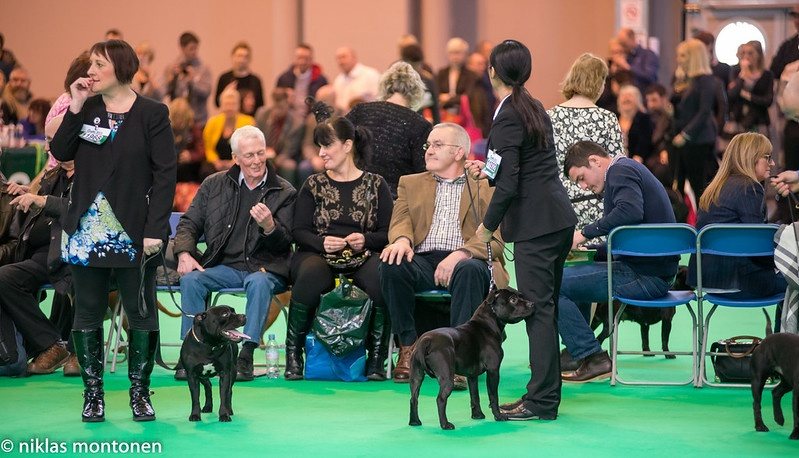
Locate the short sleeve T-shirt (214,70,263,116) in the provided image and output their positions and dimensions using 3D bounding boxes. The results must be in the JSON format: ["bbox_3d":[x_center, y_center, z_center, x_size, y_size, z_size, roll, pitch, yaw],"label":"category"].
[{"bbox_3d":[-2.562,-2.173,14.538,0.815,0.702,0.700,1,12,9],"label":"short sleeve T-shirt"}]

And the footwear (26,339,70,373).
[{"bbox_3d":[-3.401,1.297,8.909,0.484,0.190,0.216,-38,3,-24],"label":"footwear"}]

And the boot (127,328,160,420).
[{"bbox_3d":[-2.144,1.237,7.613,0.264,0.740,0.248,-4,12,-17],"label":"boot"}]

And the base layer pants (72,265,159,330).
[{"bbox_3d":[-2.400,0.580,7.641,0.715,0.902,0.343,0,-2,-13],"label":"base layer pants"}]

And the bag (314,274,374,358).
[{"bbox_3d":[-0.537,0.852,8.708,0.516,0.675,0.286,6,-6,1],"label":"bag"}]

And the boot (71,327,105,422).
[{"bbox_3d":[-2.577,1.235,7.570,0.232,0.759,0.248,-5,12,-20],"label":"boot"}]

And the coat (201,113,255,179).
[{"bbox_3d":[-2.697,-1.244,13.579,0.880,1.040,1.131,0,-4,-4],"label":"coat"}]

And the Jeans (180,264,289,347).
[{"bbox_3d":[-1.575,0.749,9.030,0.703,1.225,0.880,2,-7,-19],"label":"Jeans"}]

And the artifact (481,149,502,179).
[{"bbox_3d":[0.745,-0.520,7.452,0.069,0.245,0.177,-11,15,-42],"label":"artifact"}]
